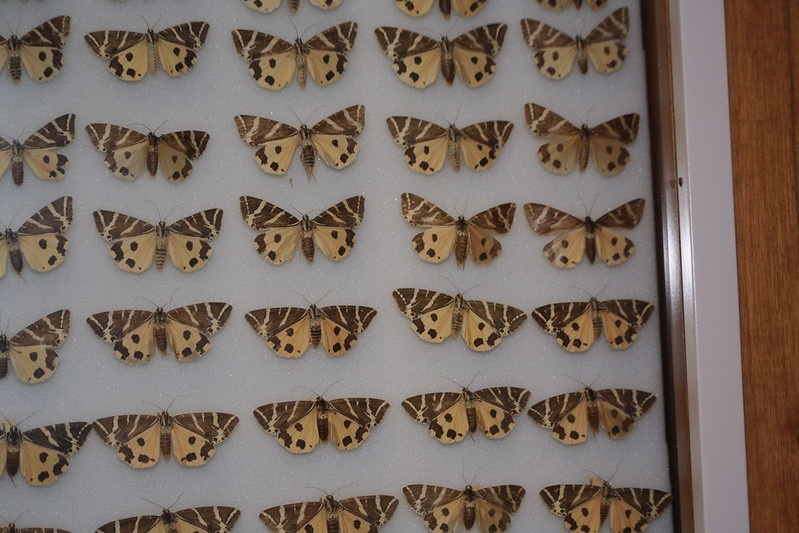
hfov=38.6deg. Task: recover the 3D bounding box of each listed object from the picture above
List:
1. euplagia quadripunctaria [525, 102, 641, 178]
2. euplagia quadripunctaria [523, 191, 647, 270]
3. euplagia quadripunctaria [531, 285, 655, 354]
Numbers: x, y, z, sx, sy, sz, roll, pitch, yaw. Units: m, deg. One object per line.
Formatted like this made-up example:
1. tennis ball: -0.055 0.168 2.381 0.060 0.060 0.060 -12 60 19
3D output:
1. euplagia quadripunctaria: 0.566 -0.381 3.445 0.313 0.084 0.223 0 -91 2
2. euplagia quadripunctaria: 0.575 -0.098 3.488 0.317 0.074 0.225 -3 -92 2
3. euplagia quadripunctaria: 0.586 0.168 3.481 0.323 0.033 0.201 -2 -89 1
